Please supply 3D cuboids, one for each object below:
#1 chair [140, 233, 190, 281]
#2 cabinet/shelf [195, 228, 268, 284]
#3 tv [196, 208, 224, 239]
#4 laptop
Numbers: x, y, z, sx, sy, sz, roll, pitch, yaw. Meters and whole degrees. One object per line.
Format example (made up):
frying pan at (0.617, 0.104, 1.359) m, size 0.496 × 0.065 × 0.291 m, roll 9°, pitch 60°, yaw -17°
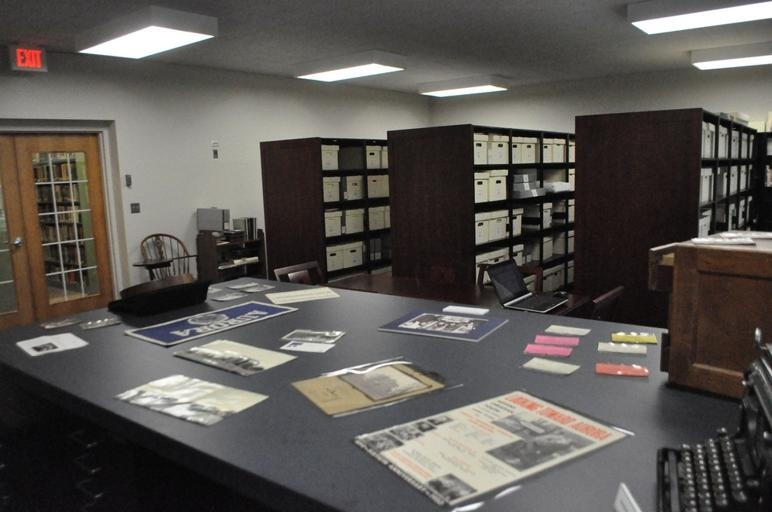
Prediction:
chair at (-2.914, -0.002, 6.615) m, size 0.499 × 0.637 × 0.472 m, roll -11°, pitch 17°, yaw -41°
cabinet/shelf at (-2.117, -0.009, 6.803) m, size 0.405 × 0.663 × 0.703 m, roll 3°, pitch 8°, yaw 33°
tv at (-2.429, -0.457, 7.007) m, size 0.379 × 0.373 × 0.391 m, roll 7°, pitch 9°, yaw 31°
laptop at (1.047, 0.268, 3.823) m, size 0.435 × 0.286 × 0.476 m, roll 1°, pitch 10°, yaw 37°
